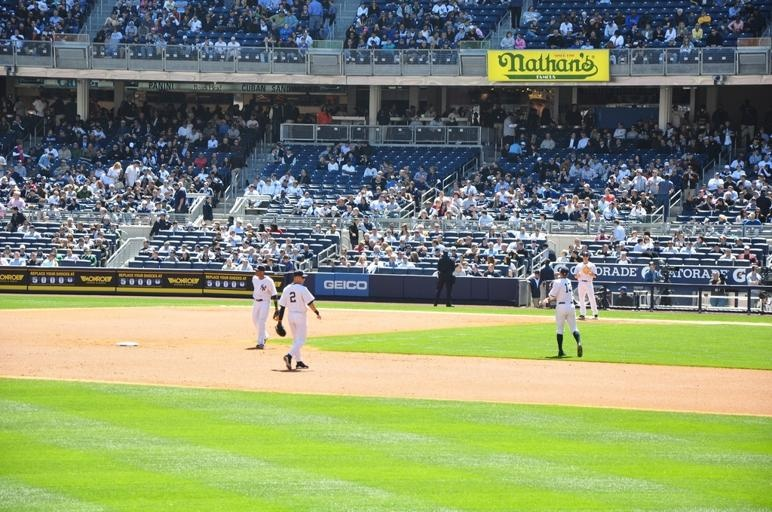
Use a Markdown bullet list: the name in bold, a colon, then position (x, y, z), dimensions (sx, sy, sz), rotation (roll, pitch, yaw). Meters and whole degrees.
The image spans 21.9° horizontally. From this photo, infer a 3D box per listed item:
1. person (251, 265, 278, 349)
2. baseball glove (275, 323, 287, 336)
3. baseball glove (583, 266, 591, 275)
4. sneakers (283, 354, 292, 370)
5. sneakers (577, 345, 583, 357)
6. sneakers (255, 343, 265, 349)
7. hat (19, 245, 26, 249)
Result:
- **person**: position (-4.878, 2.062, 79.832), dimensions (0.889, 3.252, 1.033), rotation (-3, 8, -4)
- **baseball glove**: position (-4.170, 2.963, 78.617), dimensions (0.351, 0.560, 0.274), rotation (-24, 19, 11)
- **baseball glove**: position (8.652, 0.609, 85.002), dimensions (0.264, 0.429, 0.592), rotation (2, 9, 26)
- **sneakers**: position (-3.745, 4.080, 76.642), dimensions (0.292, 0.687, 0.234), rotation (-20, 17, -16)
- **sneakers**: position (7.659, 3.754, 78.505), dimensions (0.181, 0.454, 0.194), rotation (-2, 8, -1)
- **sneakers**: position (-5.034, 3.621, 79.808), dimensions (0.190, 0.122, 0.316), rotation (1, 4, 10)
- **hat**: position (-16.881, -0.429, 92.502), dimensions (0.183, 0.246, 0.194), rotation (0, -1, -4)
